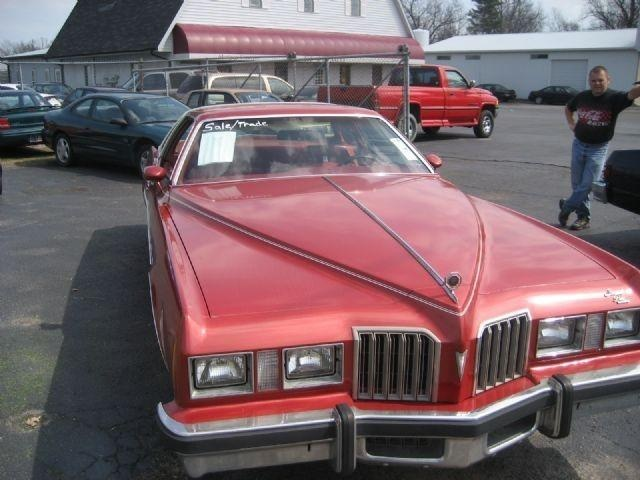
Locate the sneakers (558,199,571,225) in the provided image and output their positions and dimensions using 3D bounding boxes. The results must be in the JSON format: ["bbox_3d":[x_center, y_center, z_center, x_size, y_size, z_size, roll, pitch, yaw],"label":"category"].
[{"bbox_3d":[3.424,-0.396,7.135,0.172,0.388,0.129,-1,26,2],"label":"sneakers"}]

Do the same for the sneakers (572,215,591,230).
[{"bbox_3d":[3.634,-0.248,7.116,0.353,0.151,0.137,-10,31,-24],"label":"sneakers"}]

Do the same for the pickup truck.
[{"bbox_3d":[3.191,-4.390,15.897,5.894,2.113,2.821,-11,22,-30],"label":"pickup truck"}]

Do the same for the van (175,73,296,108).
[{"bbox_3d":[-2.629,-5.215,16.705,3.777,1.295,1.718,-9,30,-19],"label":"van"}]

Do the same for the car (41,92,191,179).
[{"bbox_3d":[-4.602,-2.482,11.992,5.164,1.741,2.240,11,17,31],"label":"car"}]
